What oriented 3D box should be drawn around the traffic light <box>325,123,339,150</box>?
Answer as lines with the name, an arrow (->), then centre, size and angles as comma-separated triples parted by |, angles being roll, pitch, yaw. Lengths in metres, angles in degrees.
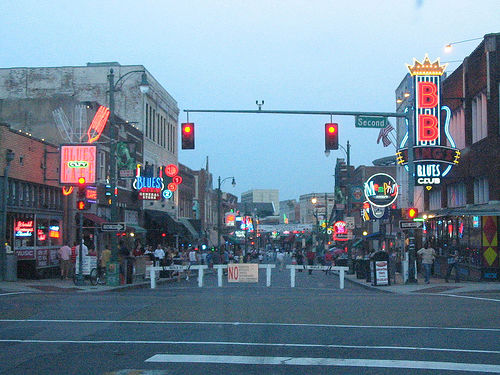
traffic light -> 3.676, -2.313, 35.374 | 0.545, 1.203, 0.385 | -1, -7, -7

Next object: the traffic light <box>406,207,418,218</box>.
traffic light -> 8.058, 1.250, 39.198 | 0.441, 0.536, 0.486 | 0, -2, -2

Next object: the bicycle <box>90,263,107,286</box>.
bicycle -> -7.552, 4.394, 39.604 | 0.670, 1.174, 3.667 | 0, -10, -10
